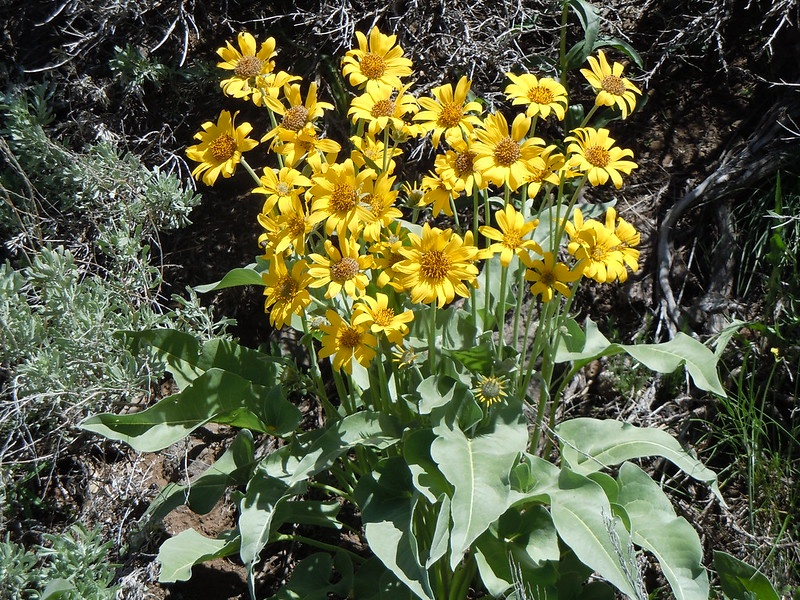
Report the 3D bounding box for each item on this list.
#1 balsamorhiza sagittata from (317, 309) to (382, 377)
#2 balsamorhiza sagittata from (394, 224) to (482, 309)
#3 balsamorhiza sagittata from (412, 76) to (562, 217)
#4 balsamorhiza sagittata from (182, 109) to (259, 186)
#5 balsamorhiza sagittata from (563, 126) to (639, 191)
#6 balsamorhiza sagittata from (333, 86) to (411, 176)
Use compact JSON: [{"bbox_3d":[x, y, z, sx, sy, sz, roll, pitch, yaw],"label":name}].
[{"bbox_3d":[-0.181,0.118,2.788,0.255,0.290,0.057,29,74,-14],"label":"balsamorhiza sagittata"},{"bbox_3d":[0.129,-0.164,2.748,0.317,0.340,0.126,-7,74,21],"label":"balsamorhiza sagittata"},{"bbox_3d":[0.368,-0.626,2.773,0.514,0.176,0.589,-15,83,13],"label":"balsamorhiza sagittata"},{"bbox_3d":[-0.800,-0.724,2.996,0.304,0.278,0.120,-33,87,-37],"label":"balsamorhiza sagittata"},{"bbox_3d":[0.830,-0.596,2.809,0.294,0.100,0.253,22,59,10],"label":"balsamorhiza sagittata"},{"bbox_3d":[-0.048,-0.751,2.913,0.277,0.246,0.311,-33,64,-22],"label":"balsamorhiza sagittata"}]
